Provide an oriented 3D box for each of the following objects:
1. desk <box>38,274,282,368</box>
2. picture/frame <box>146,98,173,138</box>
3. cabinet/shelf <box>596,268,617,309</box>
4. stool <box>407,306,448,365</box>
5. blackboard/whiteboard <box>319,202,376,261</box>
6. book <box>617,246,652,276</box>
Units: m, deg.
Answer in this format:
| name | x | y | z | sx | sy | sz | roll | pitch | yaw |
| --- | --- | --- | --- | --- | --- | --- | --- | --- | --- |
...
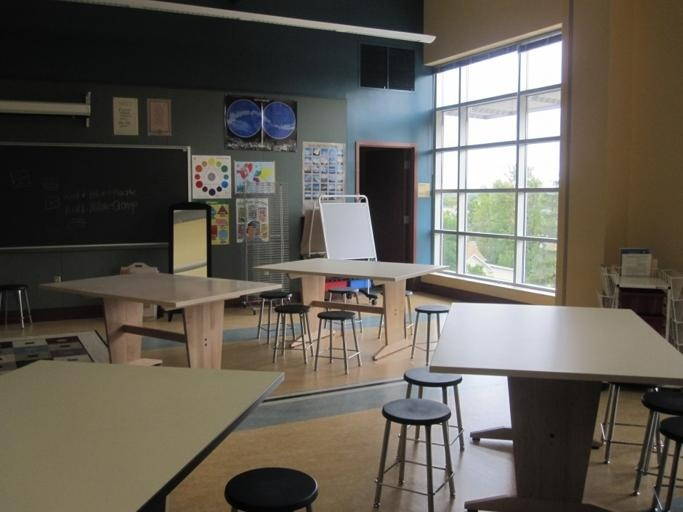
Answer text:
| name | x | y | z | sx | sy | sz | roll | pitch | yaw |
| --- | --- | --- | --- | --- | --- | --- | --- | --- | --- |
| desk | -1.550 | 0.459 | 4.551 | 1.537 | 0.798 | 0.997 | 3 | 3 | 38 |
| picture/frame | -2.462 | -1.861 | 7.108 | 0.314 | 0.500 | 0.061 | -5 | 10 | -26 |
| cabinet/shelf | 2.445 | 0.301 | 4.842 | 0.113 | 0.227 | 0.335 | -2 | 11 | 16 |
| stool | 0.912 | 0.829 | 5.533 | 0.369 | 0.529 | 0.404 | 3 | 2 | 17 |
| blackboard/whiteboard | 0.062 | -0.314 | 6.850 | 0.824 | 0.958 | 0.043 | -1 | -17 | -31 |
| book | 2.631 | 0.071 | 4.796 | 0.309 | 0.320 | 0.225 | -1 | -2 | 17 |
